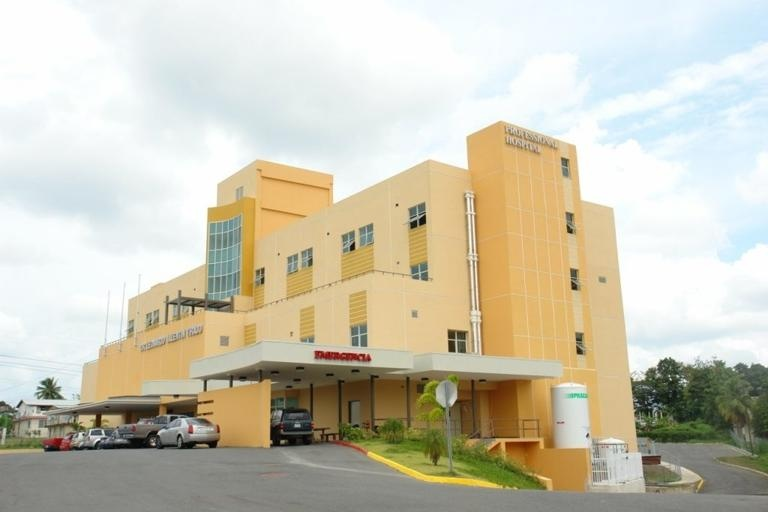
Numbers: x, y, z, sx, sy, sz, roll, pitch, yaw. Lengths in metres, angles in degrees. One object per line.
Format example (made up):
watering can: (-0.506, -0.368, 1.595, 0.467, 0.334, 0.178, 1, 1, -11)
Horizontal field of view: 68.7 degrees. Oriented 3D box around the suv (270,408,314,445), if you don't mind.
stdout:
suv: (-6.164, 11.198, 36.841, 2.524, 2.342, 2.530, 6, -22, -19)
